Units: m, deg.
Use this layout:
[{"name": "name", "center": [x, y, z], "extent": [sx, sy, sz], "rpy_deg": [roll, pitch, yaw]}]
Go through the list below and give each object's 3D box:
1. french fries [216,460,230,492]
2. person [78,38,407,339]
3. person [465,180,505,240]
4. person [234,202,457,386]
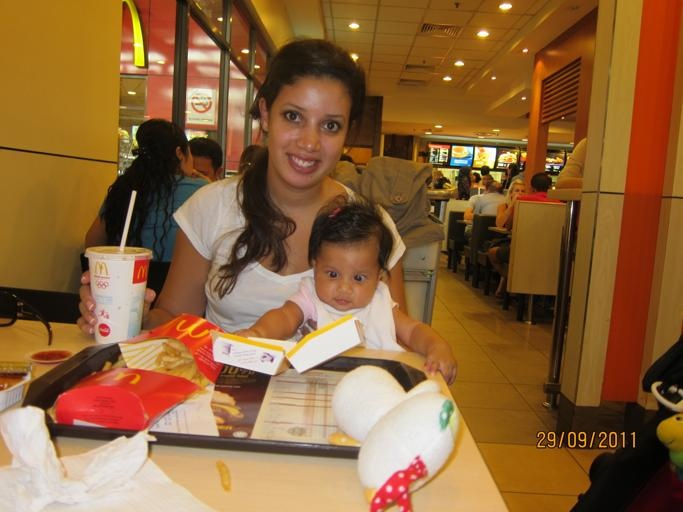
[{"name": "french fries", "center": [-0.176, 0.332, 0.759], "extent": [0.019, 0.010, 0.053], "rpy_deg": [-20, 25, -5]}, {"name": "person", "center": [-0.207, -0.128, 1.551], "extent": [0.973, 1.011, 0.531], "rpy_deg": [-1, 18, -22]}, {"name": "person", "center": [2.059, -0.675, 7.231], "extent": [0.435, 0.928, 0.551], "rpy_deg": [-6, 26, -10]}, {"name": "person", "center": [-0.004, 0.309, 1.557], "extent": [0.608, 0.846, 0.318], "rpy_deg": [4, 23, -1]}]
